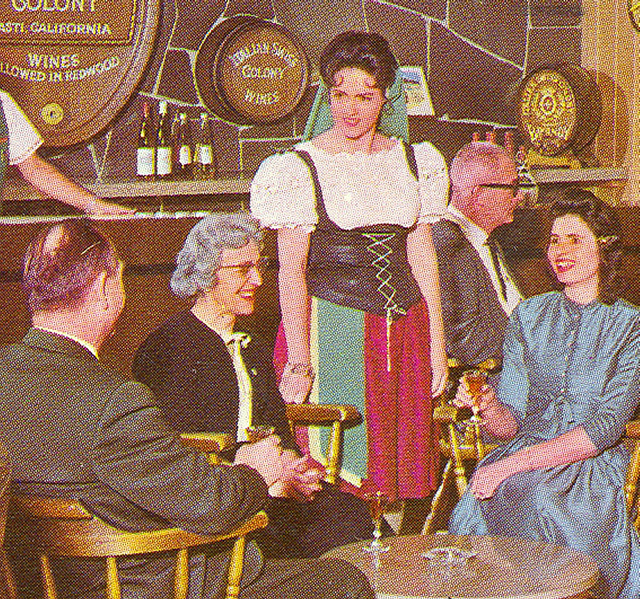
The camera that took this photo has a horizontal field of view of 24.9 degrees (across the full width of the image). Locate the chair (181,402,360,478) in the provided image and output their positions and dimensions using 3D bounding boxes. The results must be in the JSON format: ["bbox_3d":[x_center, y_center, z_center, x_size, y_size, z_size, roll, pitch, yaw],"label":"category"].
[{"bbox_3d":[-0.105,0.355,4.059,0.362,0.323,0.332,10,-9,-6],"label":"chair"}]

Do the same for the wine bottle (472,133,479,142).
[{"bbox_3d":[0.580,-0.604,5.402,0.023,0.038,0.060,-1,0,7],"label":"wine bottle"}]

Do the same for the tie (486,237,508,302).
[{"bbox_3d":[0.596,-0.109,4.864,0.077,0.183,0.027,-10,6,4],"label":"tie"}]

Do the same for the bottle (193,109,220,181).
[{"bbox_3d":[-0.415,-0.557,5.135,0.102,0.229,0.043,-2,1,-14],"label":"bottle"}]

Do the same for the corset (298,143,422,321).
[{"bbox_3d":[0.120,-0.187,4.210,0.357,0.496,0.126,-1,1,-6],"label":"corset"}]

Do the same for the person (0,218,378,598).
[{"bbox_3d":[-0.392,0.269,3.430,0.792,0.912,0.354,-2,1,-27],"label":"person"}]

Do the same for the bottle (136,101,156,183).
[{"bbox_3d":[-0.618,-0.553,5.048,0.065,0.278,0.062,-2,1,0],"label":"bottle"}]
